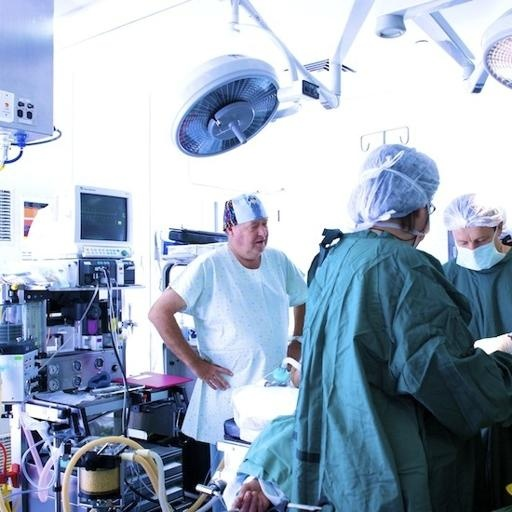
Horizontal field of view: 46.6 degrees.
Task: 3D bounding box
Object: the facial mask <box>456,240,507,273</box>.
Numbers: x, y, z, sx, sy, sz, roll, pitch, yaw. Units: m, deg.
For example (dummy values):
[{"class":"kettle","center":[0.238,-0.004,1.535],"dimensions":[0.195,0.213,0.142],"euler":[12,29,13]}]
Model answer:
[{"class":"facial mask","center":[1.001,-0.006,2.655],"dimensions":[0.169,0.143,0.112],"euler":[1,5,17]}]
